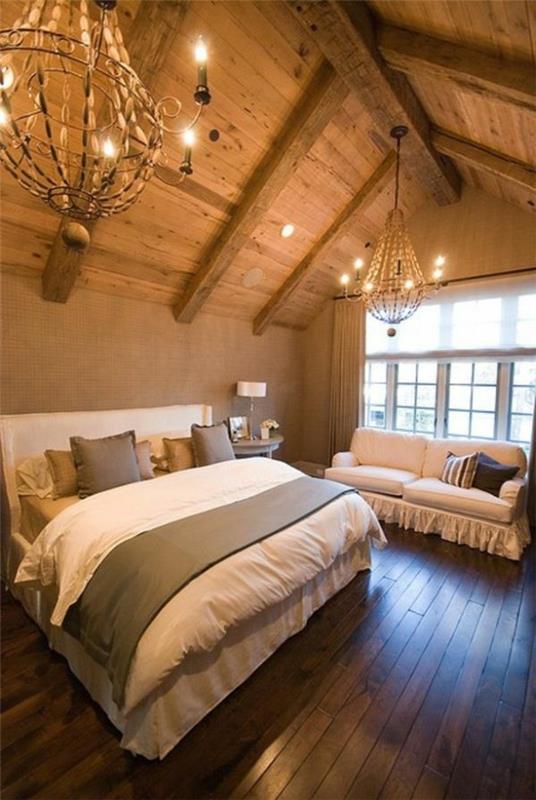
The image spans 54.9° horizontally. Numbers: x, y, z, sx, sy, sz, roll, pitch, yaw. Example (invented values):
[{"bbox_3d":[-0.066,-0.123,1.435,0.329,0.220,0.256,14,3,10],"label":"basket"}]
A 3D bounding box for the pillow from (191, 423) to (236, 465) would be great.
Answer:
[{"bbox_3d":[-0.427,0.332,3.855,0.097,0.232,0.265,-7,-12,34],"label":"pillow"}]

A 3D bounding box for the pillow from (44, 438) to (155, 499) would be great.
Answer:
[{"bbox_3d":[-0.986,0.404,3.194,0.161,0.343,0.541,-5,-1,29],"label":"pillow"}]

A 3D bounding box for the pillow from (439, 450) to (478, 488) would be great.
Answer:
[{"bbox_3d":[1.540,0.554,4.094,0.089,0.184,0.213,8,-17,-24],"label":"pillow"}]

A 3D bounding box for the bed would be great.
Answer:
[{"bbox_3d":[-0.654,0.775,2.667,1.488,0.953,1.605,3,7,39],"label":"bed"}]

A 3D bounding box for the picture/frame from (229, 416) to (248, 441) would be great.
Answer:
[{"bbox_3d":[-0.295,0.278,4.987,0.021,0.158,0.213,-11,0,24],"label":"picture/frame"}]
